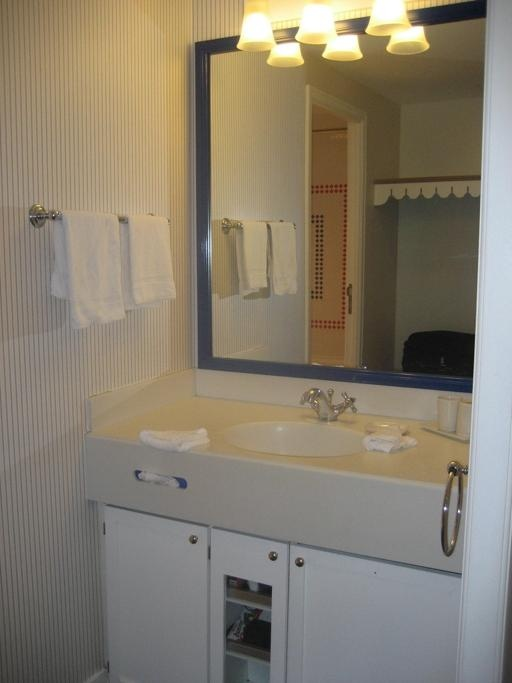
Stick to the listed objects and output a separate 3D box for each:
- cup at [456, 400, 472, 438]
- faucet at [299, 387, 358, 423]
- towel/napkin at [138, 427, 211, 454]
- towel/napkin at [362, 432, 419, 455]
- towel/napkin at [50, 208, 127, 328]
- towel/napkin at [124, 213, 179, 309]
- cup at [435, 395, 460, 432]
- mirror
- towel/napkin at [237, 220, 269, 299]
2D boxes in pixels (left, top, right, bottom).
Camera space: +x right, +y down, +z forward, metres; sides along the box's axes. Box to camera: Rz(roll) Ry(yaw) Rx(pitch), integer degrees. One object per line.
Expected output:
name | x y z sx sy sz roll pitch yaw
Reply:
cup | 0.562 0.207 1.612 0.035 0.102 0.111 1 8 18
faucet | 0.225 0.186 1.854 0.174 0.102 0.153 0 7 10
towel/napkin | -0.221 0.259 1.592 0.193 0.035 0.140 6 10 43
towel/napkin | 0.350 0.263 1.545 0.142 0.037 0.077 -4 8 -20
towel/napkin | -0.432 -0.185 1.533 0.055 0.287 0.226 2 8 28
towel/napkin | -0.308 -0.236 1.756 0.049 0.265 0.193 2 8 28
cup | 0.540 0.199 1.672 0.058 0.096 0.120 1 8 18
mirror | 0.278 -0.449 1.816 1.008 1.388 0.040 2 5 23
towel/napkin | -0.009 -0.290 2.051 0.039 0.238 0.094 -5 7 -25
